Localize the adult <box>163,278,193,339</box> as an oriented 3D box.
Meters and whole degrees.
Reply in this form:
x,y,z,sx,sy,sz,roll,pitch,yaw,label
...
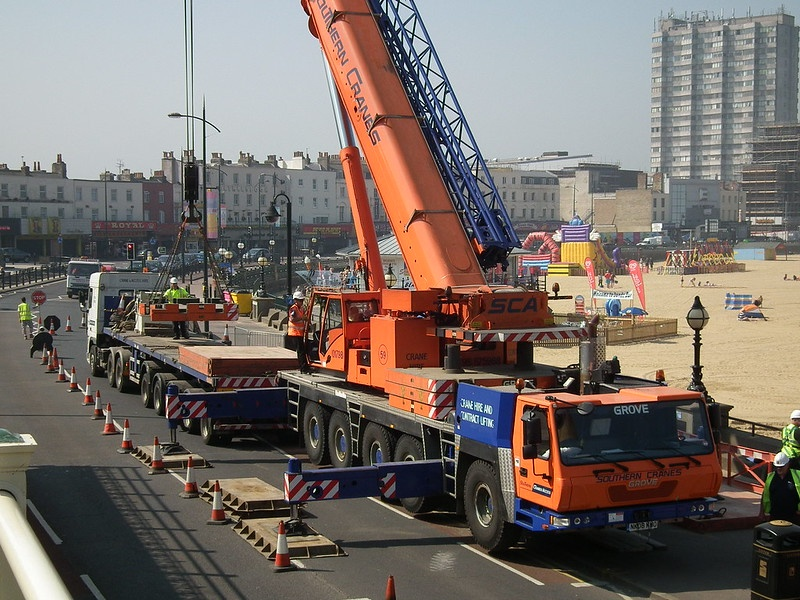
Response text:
x,y,z,sx,sy,sz,roll,pitch,yaw,label
-6.550,0.242,34.660,0.796,1.799,0.588,-8,1,-16,adult

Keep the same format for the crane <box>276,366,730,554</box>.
x,y,z,sx,sy,sz,roll,pitch,yaw,label
1.305,2.631,23.096,2.949,2.599,8.995,-3,4,-28,crane

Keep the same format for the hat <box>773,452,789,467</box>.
x,y,z,sx,sy,sz,roll,pitch,yaw,label
6.689,2.806,20.581,0.238,0.214,0.337,5,7,25,hat

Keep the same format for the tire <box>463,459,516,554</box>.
x,y,z,sx,sy,sz,roll,pitch,yaw,label
1.655,3.611,20.820,0.455,1.618,1.520,-2,1,-25,tire

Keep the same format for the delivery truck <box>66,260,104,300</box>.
x,y,z,sx,sy,sz,roll,pitch,yaw,label
-16.311,-1.060,60.600,2.135,2.178,3.743,-1,2,-20,delivery truck

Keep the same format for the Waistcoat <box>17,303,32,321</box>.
x,y,z,sx,sy,sz,roll,pitch,yaw,label
-15.864,0.508,49.635,0.754,1.002,0.573,-1,-4,-10,Waistcoat

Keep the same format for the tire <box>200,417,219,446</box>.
x,y,z,sx,sy,sz,roll,pitch,yaw,label
-4.417,3.048,27.387,0.215,0.654,0.618,-4,9,-17,tire

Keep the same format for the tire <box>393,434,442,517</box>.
x,y,z,sx,sy,sz,roll,pitch,yaw,label
0.227,3.351,22.599,0.314,1.301,1.216,-1,-8,-32,tire

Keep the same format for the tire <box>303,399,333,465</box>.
x,y,z,sx,sy,sz,roll,pitch,yaw,label
-1.761,2.887,25.732,0.427,1.451,1.368,1,2,-19,tire

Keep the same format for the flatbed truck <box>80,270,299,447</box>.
x,y,z,sx,sy,sz,roll,pitch,yaw,label
-5.511,1.510,32.068,2.977,3.834,11.075,0,6,-29,flatbed truck
